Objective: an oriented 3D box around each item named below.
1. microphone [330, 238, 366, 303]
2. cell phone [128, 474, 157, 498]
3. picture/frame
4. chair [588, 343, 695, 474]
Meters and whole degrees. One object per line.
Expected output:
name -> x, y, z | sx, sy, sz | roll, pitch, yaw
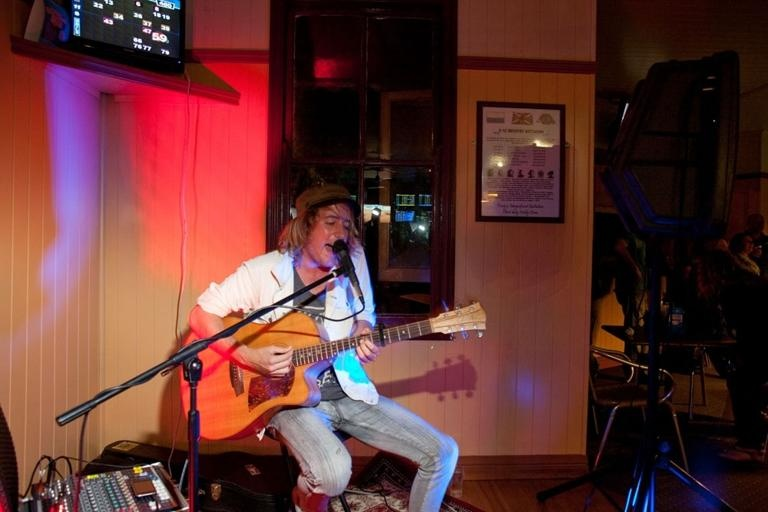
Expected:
microphone -> -0.209, 0.046, 3.805 | 0.127, 0.478, 0.127 | -17, -29, -3
cell phone -> -1.325, 1.257, 3.622 | 0.122, 0.062, 0.162 | -5, 8, -29
picture/frame -> 0.987, -0.729, 4.872 | 0.835, 1.071, 0.072 | 1, 1, -4
chair -> 1.760, 1.138, 5.131 | 0.815, 1.210, 0.836 | -2, -5, 7
